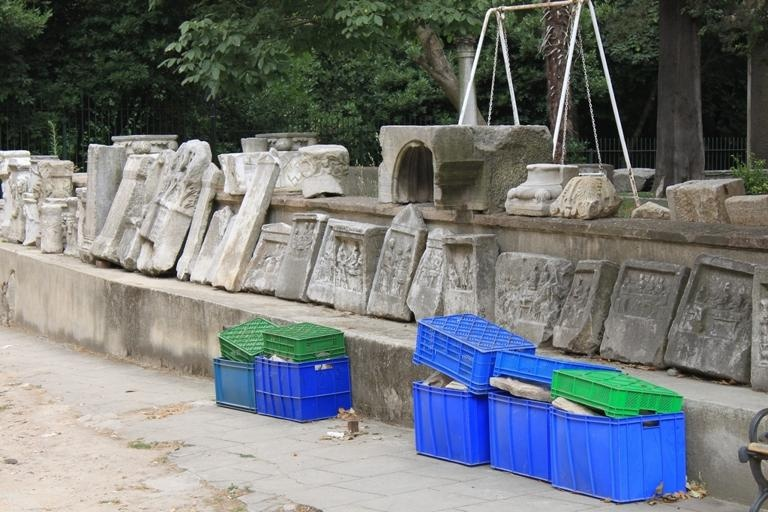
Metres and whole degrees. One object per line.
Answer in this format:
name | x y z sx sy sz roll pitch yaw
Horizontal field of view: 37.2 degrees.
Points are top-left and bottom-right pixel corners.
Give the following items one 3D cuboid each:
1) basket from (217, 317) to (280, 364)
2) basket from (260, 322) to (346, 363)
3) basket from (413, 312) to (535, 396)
basket | -1.799 1.082 14.651 0.617 0.255 0.618 18 33 38
basket | -0.984 1.080 14.221 1.047 0.363 0.583 -4 14 -5
basket | 1.015 1.090 12.914 0.987 0.887 1.089 -1 -1 -6
